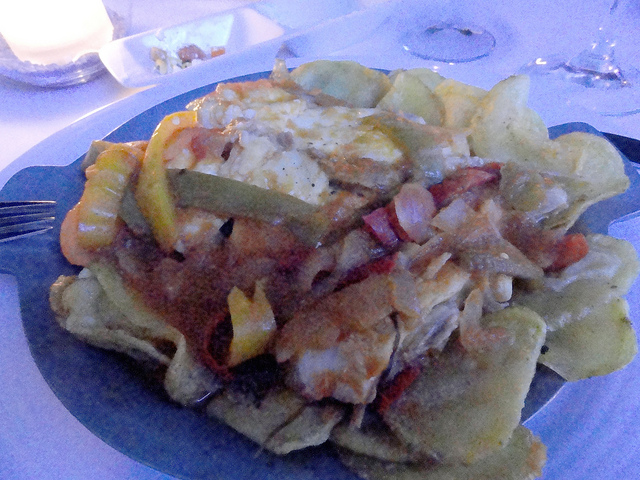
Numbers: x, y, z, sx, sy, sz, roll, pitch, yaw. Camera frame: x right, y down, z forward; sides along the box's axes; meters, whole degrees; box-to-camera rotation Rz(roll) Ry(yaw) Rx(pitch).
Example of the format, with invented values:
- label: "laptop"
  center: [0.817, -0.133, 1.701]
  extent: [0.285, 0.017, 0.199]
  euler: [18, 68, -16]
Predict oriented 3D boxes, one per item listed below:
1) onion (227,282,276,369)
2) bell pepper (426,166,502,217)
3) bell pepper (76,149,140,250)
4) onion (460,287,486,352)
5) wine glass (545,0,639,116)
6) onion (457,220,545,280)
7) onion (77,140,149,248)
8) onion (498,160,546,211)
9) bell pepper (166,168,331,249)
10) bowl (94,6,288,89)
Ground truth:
- label: "onion"
  center: [-0.196, 0.245, 2.727]
  extent: [0.136, 0.090, 0.238]
  euler: [1, 74, 1]
- label: "bell pepper"
  center: [0.429, -0.171, 2.877]
  extent: [0.269, 0.053, 0.093]
  euler: [-32, 76, -8]
- label: "bell pepper"
  center: [-0.640, -0.124, 2.823]
  extent: [0.119, 0.093, 0.318]
  euler: [18, 75, 6]
- label: "onion"
  center: [0.446, 0.235, 2.764]
  extent: [0.068, 0.050, 0.182]
  euler: [8, 75, 3]
- label: "wine glass"
  center: [1.030, -0.665, 3.531]
  extent: [0.304, 0.307, 0.302]
  euler: [20, 74, 46]
- label: "onion"
  center: [0.546, 0.031, 2.832]
  extent: [0.274, 0.103, 0.171]
  euler: [0, 74, 1]
- label: "onion"
  center: [-0.622, -0.140, 2.815]
  extent: [0.187, 0.299, 0.154]
  euler: [-26, 35, -34]
- label: "onion"
  center: [0.617, -0.158, 2.901]
  extent: [0.130, 0.040, 0.134]
  euler: [22, 85, 23]
- label: "bell pepper"
  center: [-0.220, -0.101, 2.781]
  extent: [0.504, 0.048, 0.120]
  euler: [16, 75, 5]
- label: "bowl"
  center: [-0.483, -0.753, 3.609]
  extent: [0.682, 0.125, 0.326]
  euler: [-25, 50, -17]
